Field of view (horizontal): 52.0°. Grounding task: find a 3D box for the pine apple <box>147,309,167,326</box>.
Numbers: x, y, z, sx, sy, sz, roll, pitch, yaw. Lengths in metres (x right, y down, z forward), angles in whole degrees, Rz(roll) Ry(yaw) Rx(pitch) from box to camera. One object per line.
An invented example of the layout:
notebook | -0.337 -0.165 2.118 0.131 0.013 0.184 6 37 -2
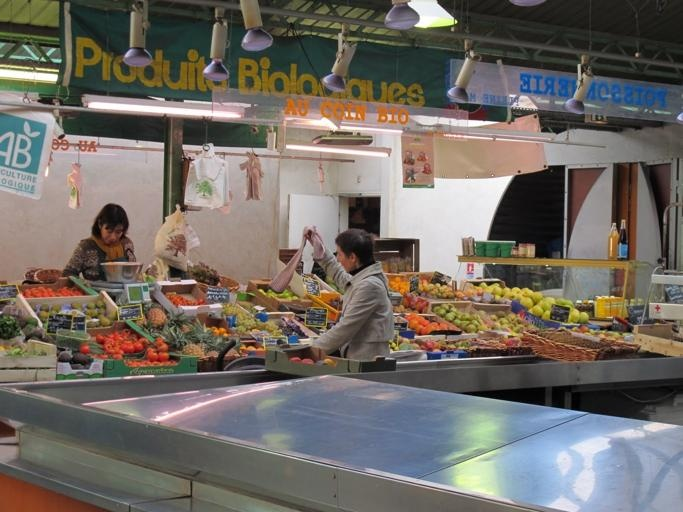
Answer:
pine apple | -1.378 0.440 5.230 0.113 0.128 0.106 -15 -26 -42

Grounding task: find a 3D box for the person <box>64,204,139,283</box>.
person | -2.071 -0.082 6.147 0.583 0.785 0.446 -5 11 -37

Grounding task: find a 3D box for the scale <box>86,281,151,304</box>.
scale | -1.766 0.287 5.555 0.557 0.168 0.188 2 0 21

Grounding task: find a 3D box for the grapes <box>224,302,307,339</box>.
grapes | -0.626 0.513 5.619 0.633 0.245 0.450 -5 10 -34

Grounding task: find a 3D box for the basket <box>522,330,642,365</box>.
basket | 1.588 0.572 4.698 0.537 0.186 0.591 0 5 -14
